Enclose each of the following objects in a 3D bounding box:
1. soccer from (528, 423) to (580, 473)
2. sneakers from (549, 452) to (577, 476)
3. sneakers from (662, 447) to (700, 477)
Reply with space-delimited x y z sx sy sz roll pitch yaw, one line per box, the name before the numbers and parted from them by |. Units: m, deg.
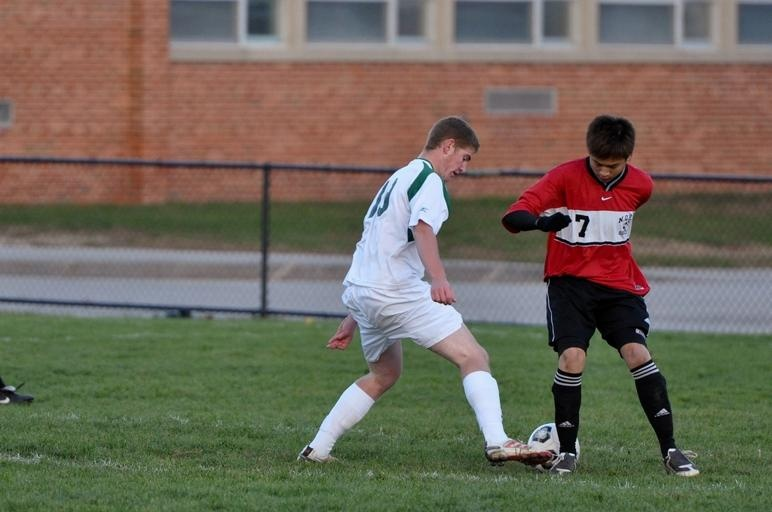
soccer | 1.621 1.904 16.449 0.392 0.411 0.373 24 -41 -31
sneakers | 1.758 2.064 16.026 0.341 0.140 0.123 -11 7 -31
sneakers | 2.882 2.047 16.000 0.202 0.148 0.374 -7 5 -27
